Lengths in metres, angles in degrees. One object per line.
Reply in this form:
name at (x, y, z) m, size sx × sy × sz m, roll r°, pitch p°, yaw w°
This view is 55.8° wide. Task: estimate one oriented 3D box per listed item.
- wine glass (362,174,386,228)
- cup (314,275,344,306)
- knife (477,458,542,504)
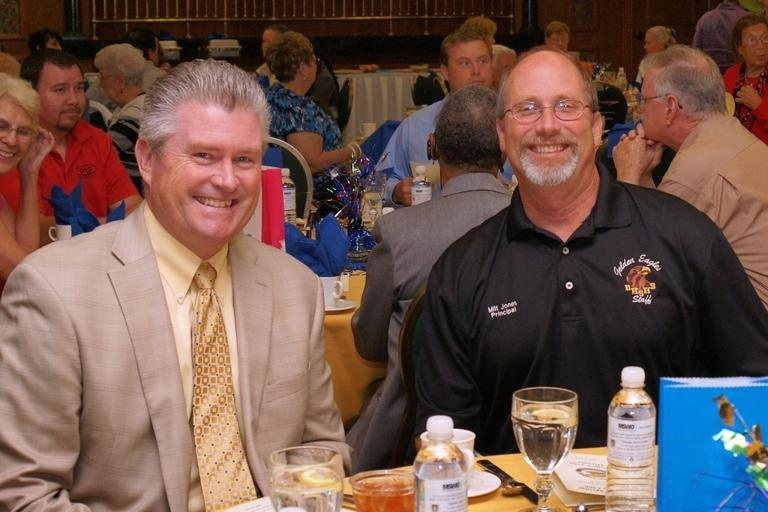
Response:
wine glass at (-0.055, -0.326, 4.165) m, size 0.200 × 0.325 × 0.109 m, roll -4°, pitch 12°, yaw -20°
cup at (-0.224, 0.147, 2.992) m, size 0.076 × 0.135 × 0.133 m, roll 1°, pitch 10°, yaw 3°
knife at (0.298, 0.527, 1.710) m, size 0.040 × 0.026 × 0.201 m, roll -3°, pitch 6°, yaw -14°
